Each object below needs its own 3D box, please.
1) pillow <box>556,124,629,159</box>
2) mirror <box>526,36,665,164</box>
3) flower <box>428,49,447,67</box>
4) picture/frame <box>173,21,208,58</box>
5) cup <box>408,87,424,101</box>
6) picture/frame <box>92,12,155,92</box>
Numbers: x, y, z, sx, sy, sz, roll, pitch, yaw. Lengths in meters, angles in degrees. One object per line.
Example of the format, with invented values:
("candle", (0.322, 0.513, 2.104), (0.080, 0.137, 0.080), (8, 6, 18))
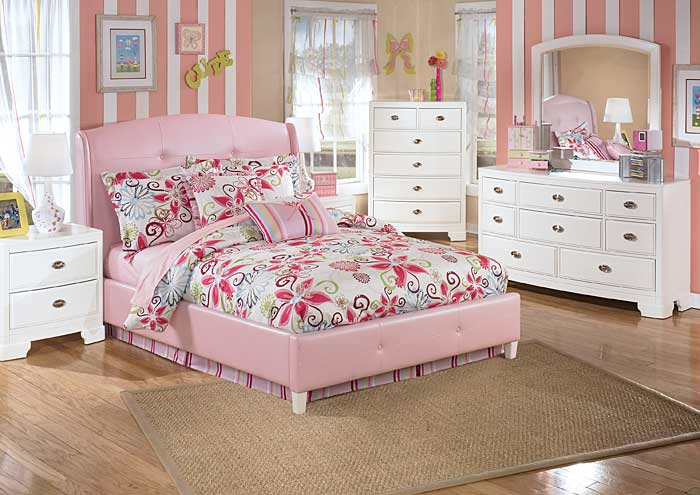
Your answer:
("pillow", (2.117, -0.914, 4.990), (0.132, 0.333, 0.382), (-10, 49, -49))
("mirror", (2.165, -1.278, 4.867), (0.108, 0.966, 1.409), (-6, 9, -42))
("flower", (1.047, -2.231, 6.651), (0.199, 0.206, 0.314), (1, 12, 8))
("picture/frame", (-1.297, -1.715, 4.624), (0.306, 0.246, 0.072), (-11, 13, -36))
("cup", (0.778, -1.819, 6.655), (0.172, 0.106, 0.152), (2, 8, 21))
("picture/frame", (-1.723, -1.500, 4.350), (0.475, 0.584, 0.049), (-10, 16, -36))
